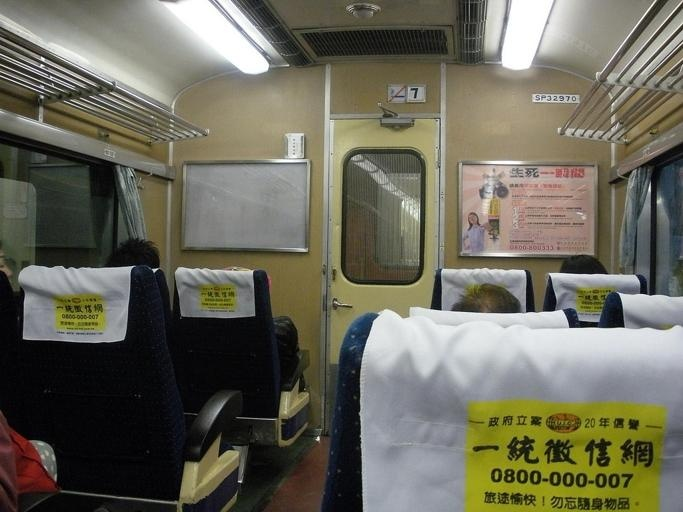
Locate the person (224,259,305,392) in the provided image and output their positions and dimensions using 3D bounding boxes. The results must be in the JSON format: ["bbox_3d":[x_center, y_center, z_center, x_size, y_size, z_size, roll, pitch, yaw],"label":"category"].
[{"bbox_3d":[-0.693,0.572,4.264,0.615,1.004,0.822,-1,2,14],"label":"person"}]

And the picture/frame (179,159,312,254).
[{"bbox_3d":[-0.845,-0.432,5.018,1.176,0.797,0.059,0,-2,12],"label":"picture/frame"}]
